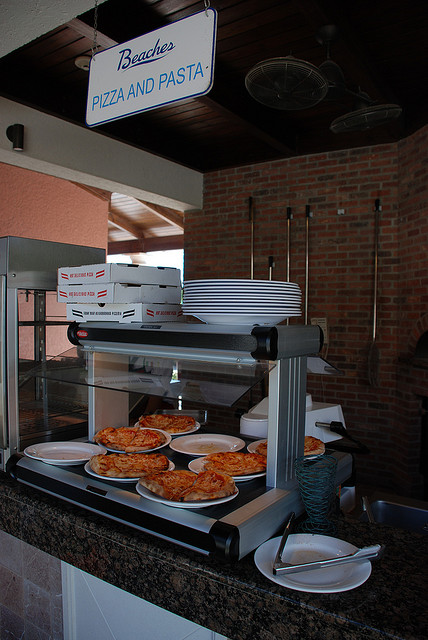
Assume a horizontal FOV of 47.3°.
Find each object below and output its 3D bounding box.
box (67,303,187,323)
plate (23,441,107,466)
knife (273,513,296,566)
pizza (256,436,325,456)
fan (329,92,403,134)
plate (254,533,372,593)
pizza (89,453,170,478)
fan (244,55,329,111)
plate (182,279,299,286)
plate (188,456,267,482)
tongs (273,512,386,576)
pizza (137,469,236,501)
[{"bbox_3d":[-0.240,-0.020,1.328,0.305,0.058,0.172,-3,5,-6],"label":"box"},{"bbox_3d":[-0.412,0.362,1.340,0.223,0.026,0.196,-2,5,3],"label":"plate"},{"bbox_3d":[0.134,0.420,0.951,0.021,0.015,0.154,5,11,13],"label":"knife"},{"bbox_3d":[0.187,0.308,1.190,0.125,0.018,0.134,-1,0,4],"label":"pizza"},{"bbox_3d":[0.707,-0.980,2.303,0.339,0.169,0.337,-12,9,15],"label":"fan"},{"bbox_3d":[0.185,0.448,0.901,0.197,0.022,0.199,-2,3,-31],"label":"plate"},{"bbox_3d":[-0.206,0.340,1.199,0.120,0.031,0.123,4,5,43],"label":"pizza"},{"bbox_3d":[0.302,-1.005,2.024,0.323,0.144,0.462,-1,5,15],"label":"fan"},{"bbox_3d":[0.058,-0.081,1.077,0.256,0.020,0.120,-2,5,-1],"label":"plate"},{"bbox_3d":[0.035,0.343,1.195,0.119,0.035,0.138,4,5,40],"label":"plate"},{"bbox_3d":[0.198,0.398,0.890,0.147,0.047,0.090,-8,-5,-12],"label":"tongs"},{"bbox_3d":[-0.056,0.352,1.043,0.173,0.033,0.155,0,1,14],"label":"pizza"}]
